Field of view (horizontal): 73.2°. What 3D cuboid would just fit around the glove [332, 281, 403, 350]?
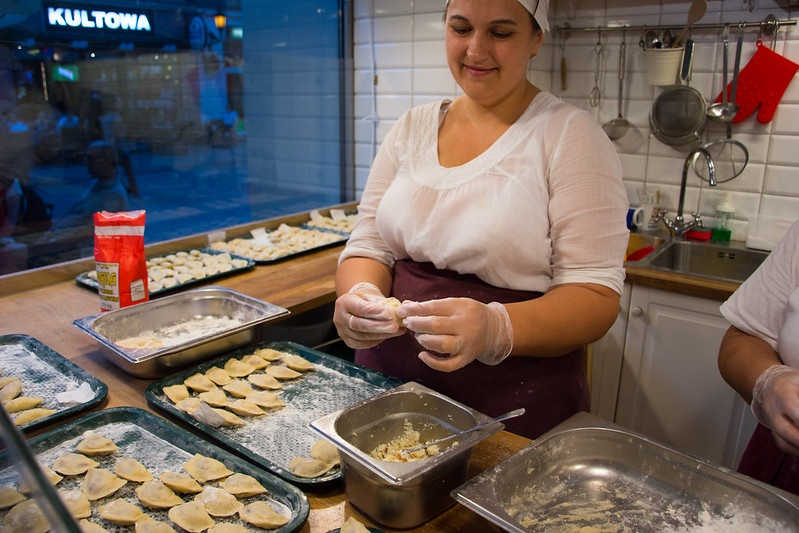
[{"bbox_3d":[-0.076,0.147,1.625,0.198,0.158,0.284,-5,12,12],"label":"glove"}]

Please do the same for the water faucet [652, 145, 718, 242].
[{"bbox_3d":[1.616,-0.408,2.981,0.220,0.510,0.263,-20,30,-40],"label":"water faucet"}]

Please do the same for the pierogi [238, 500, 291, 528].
[{"bbox_3d":[-0.320,0.582,1.265,0.080,0.020,0.058,12,21,18],"label":"pierogi"}]

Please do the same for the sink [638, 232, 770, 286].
[{"bbox_3d":[1.631,-0.006,2.842,0.384,0.245,0.376,10,21,32],"label":"sink"}]

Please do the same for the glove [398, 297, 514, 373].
[{"bbox_3d":[0.139,0.155,1.509,0.244,0.228,0.319,-9,0,45],"label":"glove"}]

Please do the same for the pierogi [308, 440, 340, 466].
[{"bbox_3d":[-0.190,0.488,1.427,0.057,0.016,0.058,19,31,23],"label":"pierogi"}]
